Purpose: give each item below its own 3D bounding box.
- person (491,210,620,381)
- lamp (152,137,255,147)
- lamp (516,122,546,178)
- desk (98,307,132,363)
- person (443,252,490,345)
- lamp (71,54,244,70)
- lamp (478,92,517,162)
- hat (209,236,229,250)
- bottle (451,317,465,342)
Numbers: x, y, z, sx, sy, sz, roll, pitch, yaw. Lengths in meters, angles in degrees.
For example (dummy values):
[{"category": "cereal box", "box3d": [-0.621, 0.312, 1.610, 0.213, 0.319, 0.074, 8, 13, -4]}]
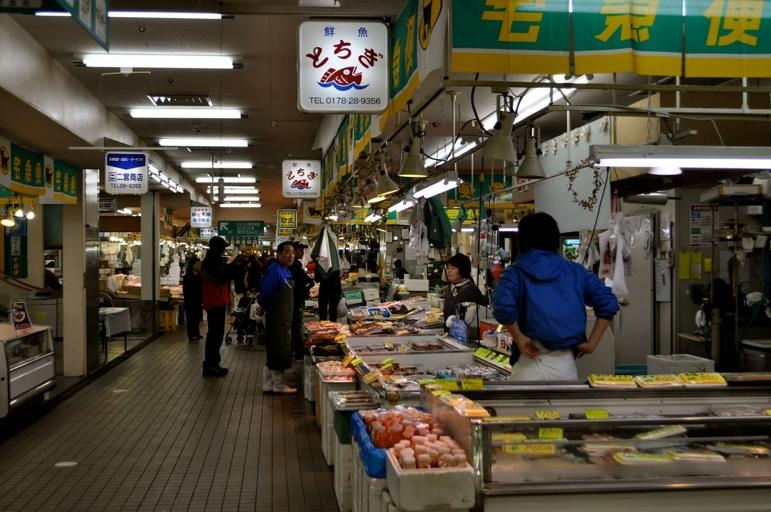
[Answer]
[{"category": "person", "box3d": [1.444, 0.387, 5.397, 1.017, 1.485, 0.461, 1, 6, 9]}, {"category": "lamp", "box3d": [-4.020, -2.529, 13.773, 1.895, 0.203, 0.749, -1, 7, -11]}, {"category": "lamp", "box3d": [1.531, -1.105, 6.563, 0.280, 0.567, 0.570, 2, 6, 14]}, {"category": "desk", "box3d": [-5.239, 1.555, 11.998, 0.445, 0.644, 1.051, 0, -3, -10]}, {"category": "person", "box3d": [0.915, 0.489, 7.326, 0.476, 0.954, 0.811, 1, 6, 5]}, {"category": "lamp", "box3d": [-3.247, -2.836, 8.949, 2.041, 0.203, 0.454, -2, 7, -16]}, {"category": "lamp", "box3d": [1.103, -1.229, 5.850, 0.333, 0.602, 0.329, 6, 14, 0]}, {"category": "hat", "box3d": [-2.669, -0.204, 10.040, 0.256, 0.183, 0.356, 10, 10, 19]}, {"category": "bottle", "box3d": [0.792, 0.845, 6.907, 0.234, 0.319, 0.045, -2, -4, 41]}]
